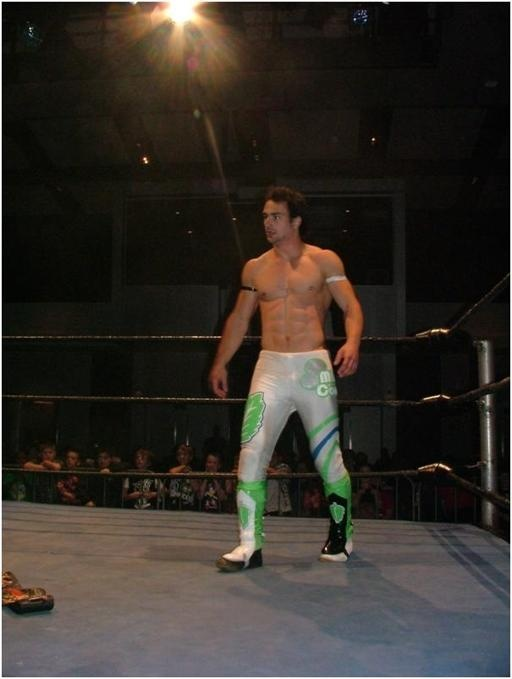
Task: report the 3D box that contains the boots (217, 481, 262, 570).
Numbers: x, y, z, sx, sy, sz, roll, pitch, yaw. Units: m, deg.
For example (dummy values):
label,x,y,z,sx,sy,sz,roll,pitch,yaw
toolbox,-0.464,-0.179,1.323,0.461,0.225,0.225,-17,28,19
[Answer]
label,x,y,z,sx,sy,sz,roll,pitch,yaw
boots,-0.045,0.608,2.156,0.125,0.265,0.204,-1,-6,9

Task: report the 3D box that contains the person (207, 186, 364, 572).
label,x,y,z,sx,sy,sz,roll,pitch,yaw
person,0.115,0.099,2.360,0.525,1.314,0.420,1,-6,-8

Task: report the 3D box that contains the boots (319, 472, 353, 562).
label,x,y,z,sx,sy,sz,roll,pitch,yaw
boots,0.281,0.611,2.289,0.104,0.271,0.200,0,-6,6
